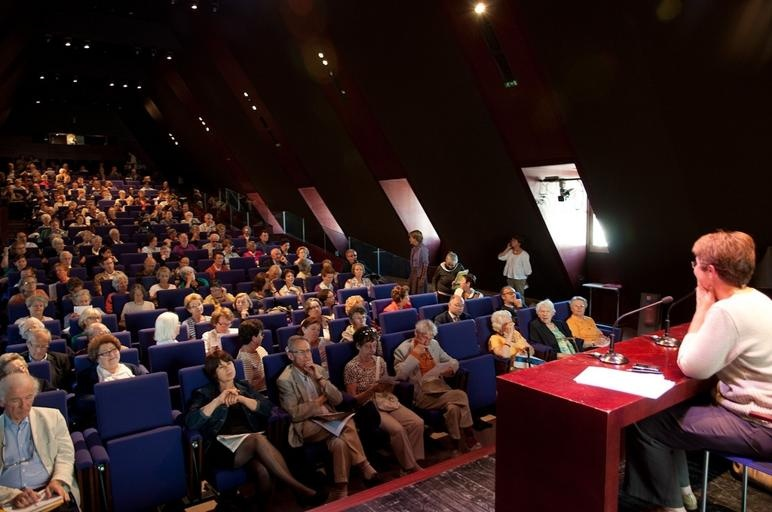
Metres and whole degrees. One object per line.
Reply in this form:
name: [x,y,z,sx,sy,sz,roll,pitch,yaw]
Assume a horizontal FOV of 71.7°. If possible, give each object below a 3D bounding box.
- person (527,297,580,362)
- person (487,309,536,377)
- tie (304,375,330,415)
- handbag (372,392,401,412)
person: [2.186,1.000,7.229,0.636,0.924,0.681,-4,-2,-32]
person: [1.500,1.067,6.467,0.454,0.922,0.551,-8,5,44]
tie: [-0.672,1.390,5.286,0.103,0.295,0.219,-9,-16,39]
handbag: [-0.005,1.486,5.491,0.193,0.064,0.204,2,6,-14]
